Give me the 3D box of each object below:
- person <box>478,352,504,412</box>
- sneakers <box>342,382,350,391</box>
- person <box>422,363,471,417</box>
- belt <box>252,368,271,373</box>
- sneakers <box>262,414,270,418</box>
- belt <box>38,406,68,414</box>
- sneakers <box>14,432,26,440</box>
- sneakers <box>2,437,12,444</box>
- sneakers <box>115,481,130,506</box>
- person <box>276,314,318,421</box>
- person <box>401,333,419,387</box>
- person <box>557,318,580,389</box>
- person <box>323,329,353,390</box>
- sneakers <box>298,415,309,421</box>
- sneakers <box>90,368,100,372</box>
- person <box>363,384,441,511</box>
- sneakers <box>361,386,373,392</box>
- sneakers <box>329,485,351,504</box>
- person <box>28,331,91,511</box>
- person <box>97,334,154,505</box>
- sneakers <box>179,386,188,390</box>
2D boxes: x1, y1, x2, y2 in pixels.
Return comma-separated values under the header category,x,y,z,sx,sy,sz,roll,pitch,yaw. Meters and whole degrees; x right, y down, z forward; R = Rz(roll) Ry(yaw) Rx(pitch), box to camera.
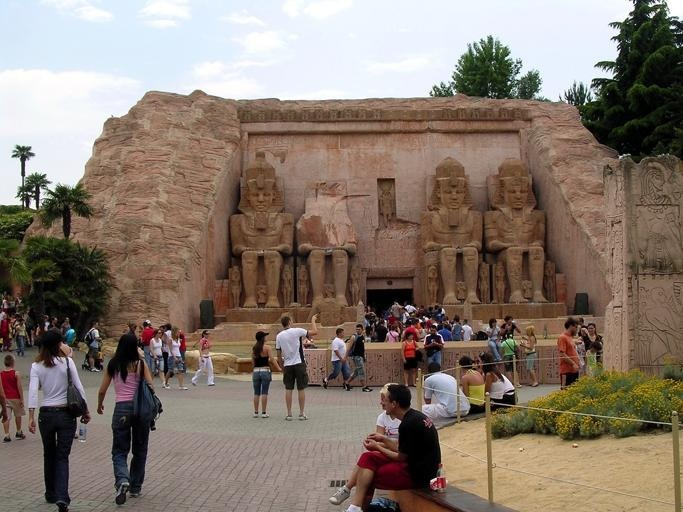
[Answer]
category,x,y,z,sx,sy,sz,roll,pitch,yaw
person,2.359,1.975,13.902,0.334,0.920,0.984,-3,-6,8
sneakers,0.089,2.657,17.971,0.144,0.190,0.427,-1,-8,-7
person,1.631,2.135,13.851,0.490,0.862,0.657,-25,27,-35
belt,-1.306,1.877,14.564,0.287,0.089,0.144,1,-7,-23
sneakers,-1.271,2.679,14.818,0.126,0.085,0.044,-1,3,-16
belt,-3.562,1.909,10.936,0.321,0.090,0.067,-1,-6,-6
sneakers,-4.864,2.724,13.386,0.192,0.135,0.064,2,1,-14
sneakers,-4.992,2.755,13.197,0.066,0.071,0.180,0,-11,-12
sneakers,-2.656,2.867,10.773,0.128,0.355,0.151,9,21,-20
person,-0.811,1.868,14.725,0.517,1.706,0.928,-1,-6,-4
person,1.391,2.066,17.604,0.368,1.072,0.695,-2,-6,5
person,3.757,1.604,14.672,0.337,1.181,1.023,-3,-7,15
person,-0.090,2.049,17.552,0.571,1.246,1.890,-2,-6,-2
sneakers,-0.643,2.688,14.649,0.056,0.065,0.157,1,2,33
sneakers,-5.796,2.689,20.815,0.207,0.096,0.075,-1,0,5
person,0.651,2.284,10.557,1.035,1.481,0.386,-2,-6,5
sneakers,0.510,2.689,17.877,0.209,0.090,0.080,-1,-2,9
sneakers,0.001,2.880,10.765,0.133,0.157,0.377,41,14,14
person,-3.601,2.003,10.941,0.712,2.181,0.501,-3,-6,14
person,-2.682,2.021,11.155,0.622,2.105,0.620,2,-7,-29
sneakers,-3.216,2.692,17.994,0.218,0.087,0.071,2,-5,-10
